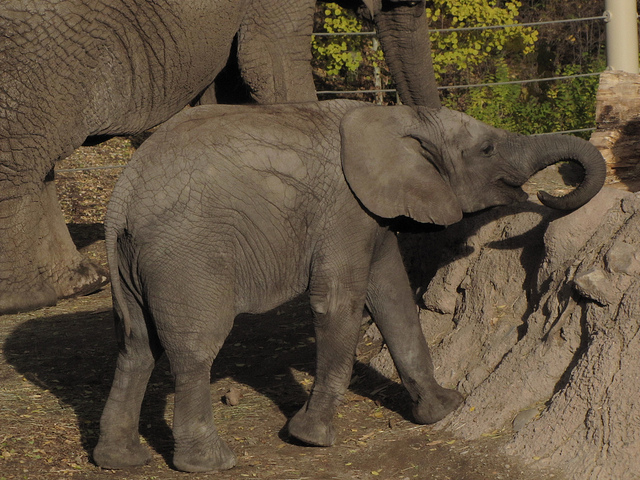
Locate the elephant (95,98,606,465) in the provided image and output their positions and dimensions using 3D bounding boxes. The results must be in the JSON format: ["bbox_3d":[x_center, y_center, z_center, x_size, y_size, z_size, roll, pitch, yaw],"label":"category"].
[{"bbox_3d":[0.226,0.163,6.366,3.412,2.044,1.079,-8,11,-21],"label":"elephant"}]

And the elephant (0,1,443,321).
[{"bbox_3d":[-0.299,-0.979,7.537,4.001,2.065,1.798,-14,20,-23],"label":"elephant"}]
